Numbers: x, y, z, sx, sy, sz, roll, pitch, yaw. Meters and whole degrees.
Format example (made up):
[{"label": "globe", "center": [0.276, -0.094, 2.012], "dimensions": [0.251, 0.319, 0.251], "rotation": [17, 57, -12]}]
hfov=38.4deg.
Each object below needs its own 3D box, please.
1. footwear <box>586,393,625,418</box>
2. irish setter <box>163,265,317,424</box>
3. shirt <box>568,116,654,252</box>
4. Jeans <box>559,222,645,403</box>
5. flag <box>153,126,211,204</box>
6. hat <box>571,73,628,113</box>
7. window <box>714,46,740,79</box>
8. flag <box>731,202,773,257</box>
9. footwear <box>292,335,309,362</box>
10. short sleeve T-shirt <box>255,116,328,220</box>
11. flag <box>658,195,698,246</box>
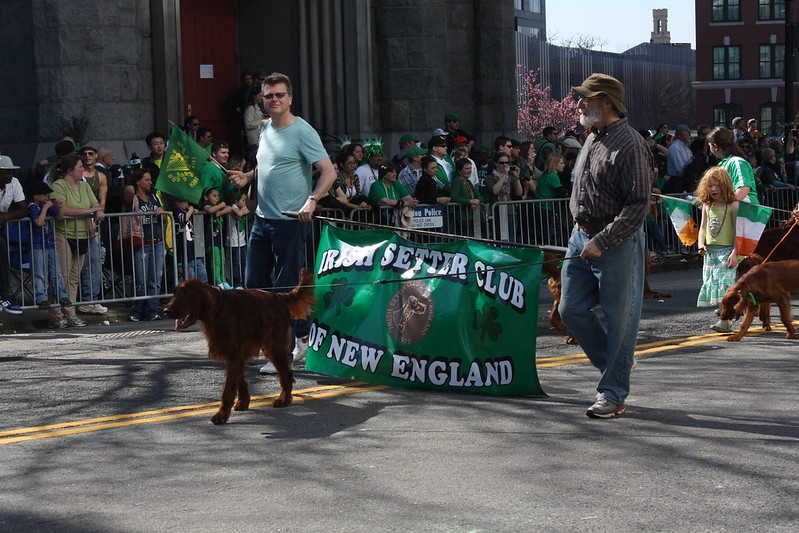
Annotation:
[{"label": "footwear", "center": [1.911, 1.292, 10.673], "dimensions": [0.406, 0.216, 0.158], "rotation": [1, -4, -30]}, {"label": "irish setter", "center": [-1.488, 0.716, 10.977], "dimensions": [0.529, 1.322, 1.471], "rotation": [8, 13, 41]}, {"label": "shirt", "center": [1.944, -0.751, 10.592], "dimensions": [0.729, 1.194, 0.551], "rotation": [3, 10, 17]}, {"label": "Jeans", "center": [1.954, 0.341, 10.896], "dimensions": [0.758, 1.965, 0.700], "rotation": [12, 19, 43]}, {"label": "flag", "center": [-3.121, -1.425, 16.539], "dimensions": [0.896, 1.156, 0.122], "rotation": [21, 7, -36]}, {"label": "hat", "center": [1.904, -1.649, 10.757], "dimensions": [0.598, 0.318, 0.468], "rotation": [18, 10, 14]}, {"label": "window", "center": [19.867, -12.416, 69.676], "dimensions": [1.721, 2.287, 0.129], "rotation": [2, 36, 19]}, {"label": "flag", "center": [4.431, -0.467, 14.480], "dimensions": [0.634, 0.901, 0.119], "rotation": [1, 6, -6]}, {"label": "footwear", "center": [-1.066, 0.884, 12.409], "dimensions": [0.135, 0.344, 0.116], "rotation": [-1, 31, -10]}, {"label": "short sleeve T-shirt", "center": [-1.141, -1.033, 12.051], "dimensions": [0.731, 1.028, 0.492], "rotation": [-1, 10, -5]}, {"label": "flag", "center": [3.717, -0.697, 15.119], "dimensions": [0.305, 1.056, 0.142], "rotation": [-10, -34, -5]}]
